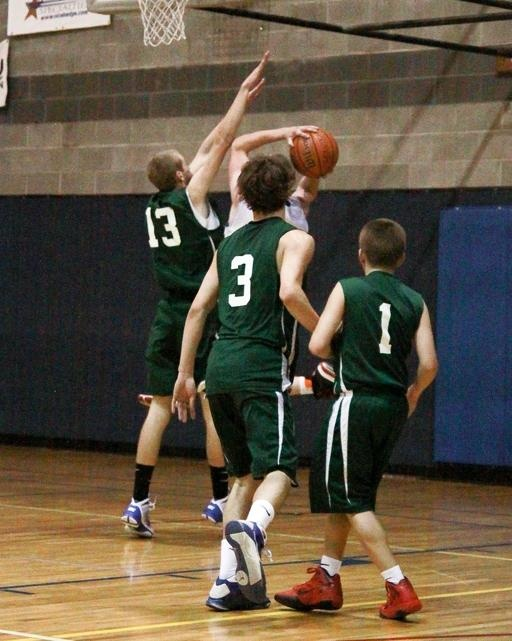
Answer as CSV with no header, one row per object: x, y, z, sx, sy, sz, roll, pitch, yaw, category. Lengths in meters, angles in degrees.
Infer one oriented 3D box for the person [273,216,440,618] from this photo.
0.293,0.259,2.597,0.385,0.722,0.340,5,3,10,person

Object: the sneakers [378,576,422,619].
0.362,0.708,2.504,0.056,0.101,0.151,-2,-25,-29,sneakers
